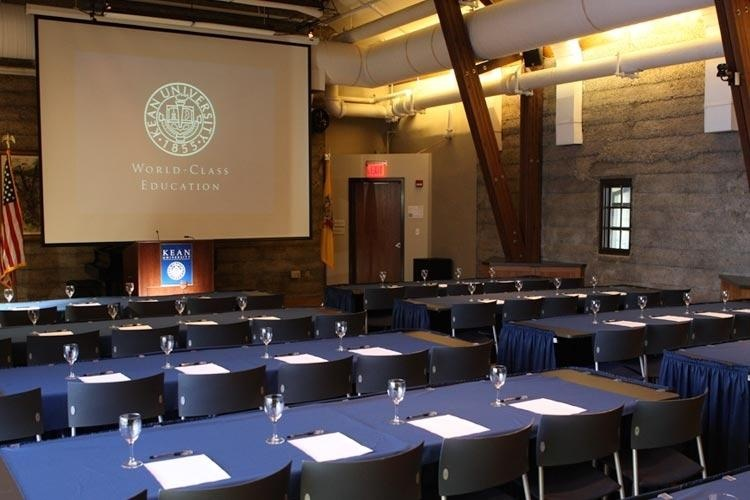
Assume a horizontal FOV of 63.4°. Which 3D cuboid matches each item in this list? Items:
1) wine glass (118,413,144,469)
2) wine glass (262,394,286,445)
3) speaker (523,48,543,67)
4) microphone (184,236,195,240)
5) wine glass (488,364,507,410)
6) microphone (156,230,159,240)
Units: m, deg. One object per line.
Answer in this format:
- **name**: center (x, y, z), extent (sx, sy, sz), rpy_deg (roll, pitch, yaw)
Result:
- **wine glass**: center (-1.337, 1.014, 3.327), extent (0.097, 0.305, 0.313), rpy_deg (-5, 0, -24)
- **wine glass**: center (-0.590, 0.963, 3.594), extent (0.104, 0.287, 0.373), rpy_deg (-4, 0, -10)
- **speaker**: center (2.715, -3.297, 10.505), extent (0.334, 0.275, 0.285), rpy_deg (-5, 0, 29)
- **microphone**: center (-3.131, -0.212, 10.270), extent (0.164, 0.079, 0.119), rpy_deg (-5, 0, -33)
- **wine glass**: center (0.844, 0.892, 4.151), extent (0.097, 0.250, 0.381), rpy_deg (-4, 0, 11)
- **microphone**: center (-3.578, -0.242, 10.036), extent (0.067, 0.179, 0.028), rpy_deg (-5, 1, -26)
